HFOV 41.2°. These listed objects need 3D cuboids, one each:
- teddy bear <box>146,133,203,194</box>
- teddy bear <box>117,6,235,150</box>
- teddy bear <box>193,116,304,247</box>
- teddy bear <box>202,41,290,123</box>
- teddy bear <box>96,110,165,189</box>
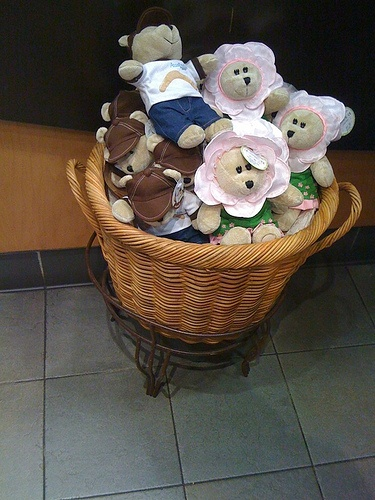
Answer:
[{"bbox_3d":[-0.025,-0.170,0.985,0.080,0.109,0.040,-36,-3,2],"label":"teddy bear"},{"bbox_3d":[-0.043,-0.349,0.978,0.206,0.187,0.334,-16,50,-24],"label":"teddy bear"},{"bbox_3d":[0.108,-0.130,0.942,0.244,0.220,0.150,-7,34,-8],"label":"teddy bear"},{"bbox_3d":[0.123,-0.327,1.027,0.182,0.157,0.063,-3,8,-4],"label":"teddy bear"},{"bbox_3d":[-0.106,-0.189,0.995,0.121,0.161,0.083,-5,-3,29],"label":"teddy bear"}]
